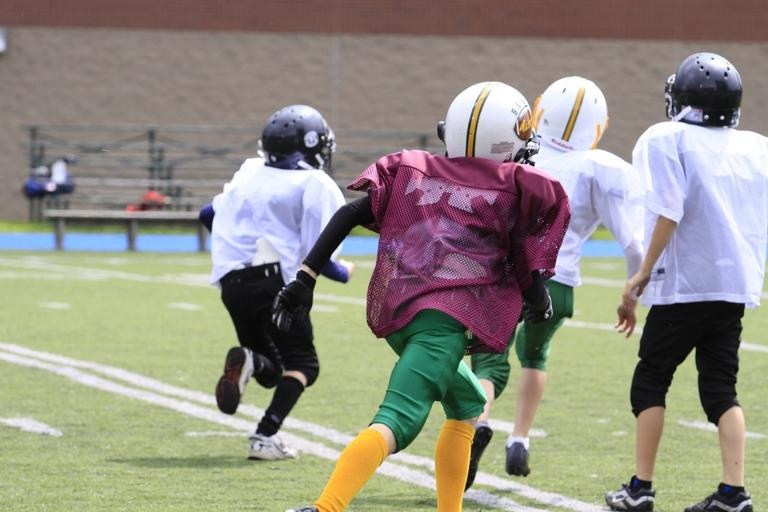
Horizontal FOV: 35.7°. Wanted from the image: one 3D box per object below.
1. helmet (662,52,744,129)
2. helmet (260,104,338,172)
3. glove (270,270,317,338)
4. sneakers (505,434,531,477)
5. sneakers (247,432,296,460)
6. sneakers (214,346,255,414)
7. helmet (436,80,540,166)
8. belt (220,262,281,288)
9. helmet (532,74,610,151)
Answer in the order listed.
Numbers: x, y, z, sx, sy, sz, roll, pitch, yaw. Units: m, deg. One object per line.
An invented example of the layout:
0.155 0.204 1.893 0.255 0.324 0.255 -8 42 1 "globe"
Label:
1.793 -0.934 6.534 0.370 0.371 0.475 -13 17 -28 "helmet"
-0.562 -0.712 7.217 0.541 0.403 0.431 -10 21 -41 "helmet"
-0.441 0.225 5.718 0.184 0.303 0.091 28 4 -4 "glove"
0.762 1.149 6.815 0.161 0.232 0.245 8 -23 1 "sneakers"
-0.656 1.097 6.893 0.338 0.141 0.120 8 -6 -34 "sneakers"
-0.853 0.688 6.684 0.174 0.395 0.188 17 -12 15 "sneakers"
0.502 -0.666 5.998 0.490 0.422 0.549 9 10 12 "helmet"
-0.784 0.103 6.932 0.198 0.070 0.170 -12 -2 10 "belt"
1.134 -0.859 7.197 0.448 0.461 0.559 14 -1 2 "helmet"
